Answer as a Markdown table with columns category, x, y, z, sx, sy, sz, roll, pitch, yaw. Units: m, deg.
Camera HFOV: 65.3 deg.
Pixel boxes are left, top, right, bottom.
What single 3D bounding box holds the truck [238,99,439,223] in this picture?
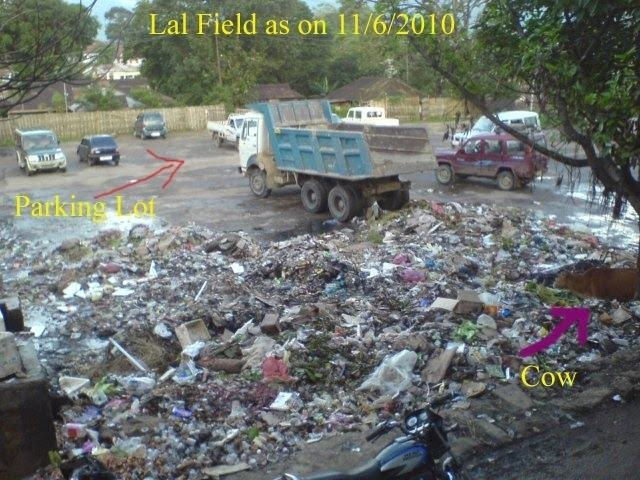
| category | x | y | z | sx | sy | sz | roll | pitch | yaw |
| --- | --- | --- | --- | --- | --- | --- | --- | --- | --- |
| truck | 0.071 | -2.244 | 14.413 | 2.863 | 3.121 | 6.227 | -20 | 31 | -40 |

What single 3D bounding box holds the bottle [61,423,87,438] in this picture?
| category | x | y | z | sx | sy | sz | roll | pitch | yaw |
| --- | --- | --- | --- | --- | --- | --- | --- | --- | --- |
| bottle | -2.777 | 2.141 | 5.644 | 0.302 | 0.111 | 0.159 | -7 | 16 | -2 |

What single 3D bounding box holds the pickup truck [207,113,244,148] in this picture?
| category | x | y | z | sx | sy | sz | roll | pitch | yaw |
| --- | --- | --- | --- | --- | --- | --- | --- | --- | --- |
| pickup truck | -5.196 | -6.145 | 28.261 | 1.147 | 1.706 | 4.101 | -12 | 17 | -23 |

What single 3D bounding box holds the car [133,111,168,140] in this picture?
| category | x | y | z | sx | sy | sz | roll | pitch | yaw |
| --- | --- | --- | --- | --- | --- | --- | --- | --- | --- |
| car | -11.542 | -7.865 | 33.812 | 1.320 | 1.392 | 2.573 | -8 | 29 | -20 |

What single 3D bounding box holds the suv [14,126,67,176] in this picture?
| category | x | y | z | sx | sy | sz | roll | pitch | yaw |
| --- | --- | --- | --- | --- | --- | --- | --- | --- | --- |
| suv | -11.809 | -3.816 | 21.056 | 1.434 | 1.497 | 2.666 | -10 | 21 | -31 |

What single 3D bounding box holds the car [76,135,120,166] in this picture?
| category | x | y | z | sx | sy | sz | roll | pitch | yaw |
| --- | --- | --- | --- | --- | --- | --- | --- | --- | --- |
| car | -10.191 | -4.066 | 22.922 | 1.192 | 1.154 | 2.367 | -12 | 30 | -27 |
